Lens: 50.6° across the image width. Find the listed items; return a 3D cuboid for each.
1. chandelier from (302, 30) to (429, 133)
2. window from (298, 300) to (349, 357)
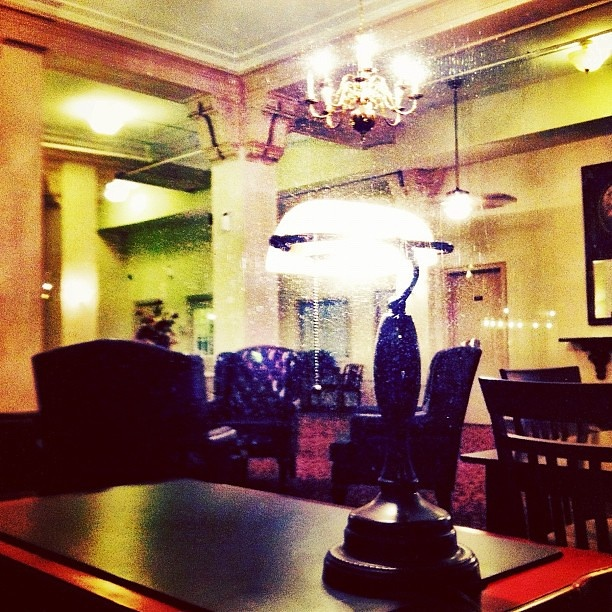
[{"bbox_3d":[0.351,-1.317,3.949,0.409,0.530,0.417,4,5,37],"label":"chandelier"},{"bbox_3d":[0.270,0.285,9.048,0.690,0.852,0.083,-5,-10,33],"label":"window"}]
